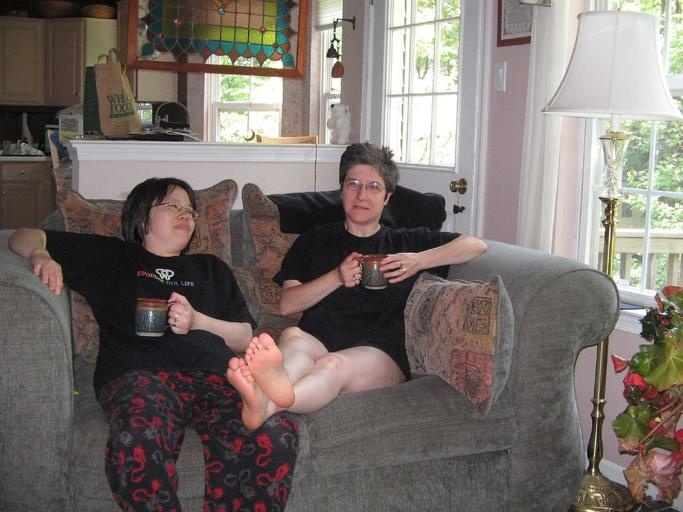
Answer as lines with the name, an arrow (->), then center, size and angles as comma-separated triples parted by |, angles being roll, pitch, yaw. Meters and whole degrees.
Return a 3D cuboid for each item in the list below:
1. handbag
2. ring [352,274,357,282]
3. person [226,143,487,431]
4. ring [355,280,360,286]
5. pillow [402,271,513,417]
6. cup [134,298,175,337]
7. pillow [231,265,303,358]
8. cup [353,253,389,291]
handbag -> -1.437, -0.996, 3.527 | 0.248, 0.521, 0.447 | -8, 13, -33
ring -> 0.051, 0.081, 2.108 | 0.016, 0.022, 0.021 | -3, -8, 0
person -> -0.150, -0.017, 2.166 | 0.769, 0.931, 1.063 | 15, 16, 36
ring -> 0.060, 0.098, 2.145 | 0.021, 0.021, 0.016 | -1, -28, 7
pillow -> 0.402, 0.316, 1.956 | 0.177, 0.366, 0.466 | -2, 3, -22
cup -> -0.596, 0.191, 1.796 | 0.133, 0.116, 0.078 | 5, -6, -43
pillow -> -0.306, 0.227, 2.396 | 0.239, 0.331, 0.087 | -20, 7, -22
cup -> 0.111, 0.060, 2.036 | 0.081, 0.094, 0.126 | -1, 2, -7
